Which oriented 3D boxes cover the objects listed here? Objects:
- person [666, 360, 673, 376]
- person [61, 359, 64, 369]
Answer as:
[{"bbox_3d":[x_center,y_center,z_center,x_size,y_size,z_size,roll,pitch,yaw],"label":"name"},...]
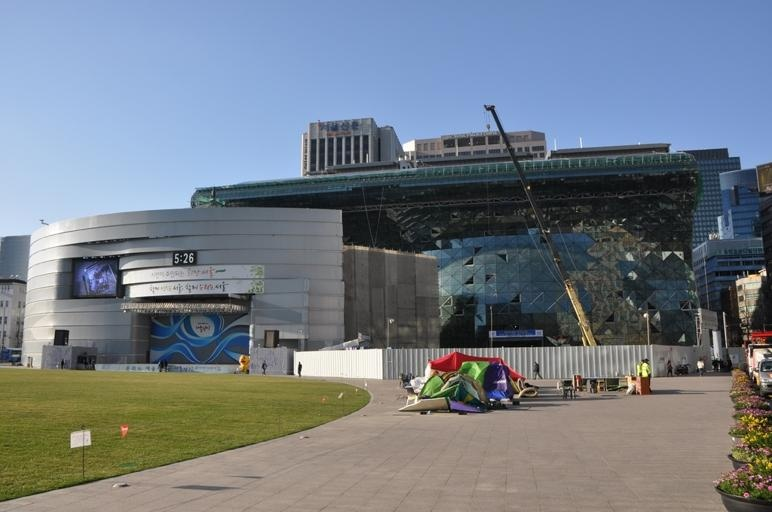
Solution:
[{"bbox_3d":[22.197,8.691,59.431,0.361,1.196,1.723,-1,-2,17],"label":"person"},{"bbox_3d":[-35.498,11.780,83.253,0.385,0.914,0.212,0,-2,-23],"label":"person"}]
